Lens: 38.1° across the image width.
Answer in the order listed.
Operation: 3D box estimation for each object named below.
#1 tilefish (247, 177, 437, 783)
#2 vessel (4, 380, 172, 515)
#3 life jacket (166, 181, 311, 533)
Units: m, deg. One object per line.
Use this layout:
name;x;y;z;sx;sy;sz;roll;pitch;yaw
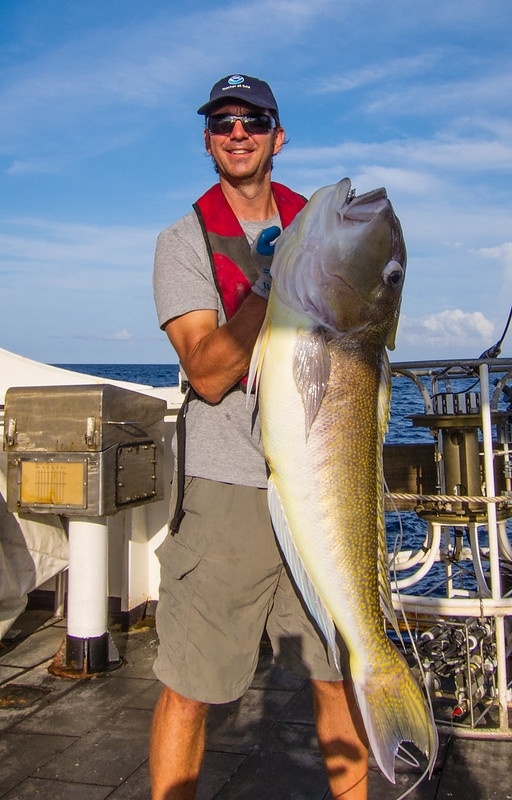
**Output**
tilefish;0.218;0.207;1.926;0.467;1.527;0.311;-2;1;-13
vessel;-0.827;0.200;4.079;0.771;0.672;0.762;0;1;23
life jacket;-0.058;-0.172;2.216;0.438;1.073;0.200;3;-2;-10
